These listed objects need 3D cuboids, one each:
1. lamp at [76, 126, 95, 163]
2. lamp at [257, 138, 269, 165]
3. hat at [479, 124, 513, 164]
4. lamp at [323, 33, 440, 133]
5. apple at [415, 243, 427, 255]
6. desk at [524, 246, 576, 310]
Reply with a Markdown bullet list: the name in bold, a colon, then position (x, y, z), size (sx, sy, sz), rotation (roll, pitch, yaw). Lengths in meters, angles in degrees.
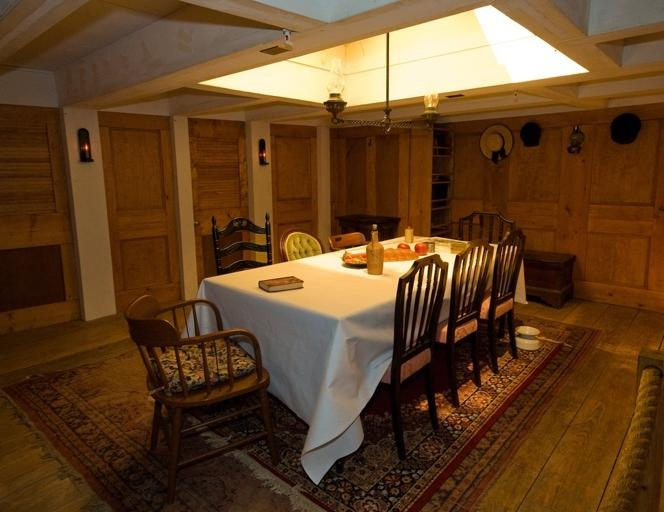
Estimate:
- **lamp**: position (-2.530, -1.120, 4.777), size (0.145, 0.342, 0.093), rotation (-12, 13, -33)
- **lamp**: position (-0.897, -1.355, 6.120), size (0.084, 0.351, 0.166), rotation (3, 13, 34)
- **hat**: position (2.170, -1.485, 6.204), size (0.128, 0.486, 0.474), rotation (-12, 13, -32)
- **lamp**: position (0.456, -1.580, 4.210), size (0.916, 1.160, 0.962), rotation (2, 14, 7)
- **apple**: position (0.757, -0.055, 3.971), size (0.099, 0.098, 0.098), rotation (0, 1, -1)
- **desk**: position (2.575, 0.267, 5.570), size (0.501, 0.570, 0.679), rotation (2, 13, 31)
